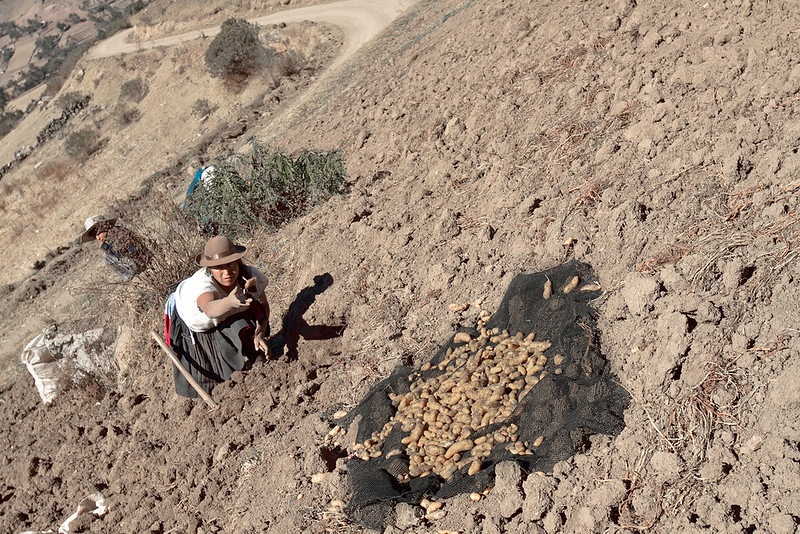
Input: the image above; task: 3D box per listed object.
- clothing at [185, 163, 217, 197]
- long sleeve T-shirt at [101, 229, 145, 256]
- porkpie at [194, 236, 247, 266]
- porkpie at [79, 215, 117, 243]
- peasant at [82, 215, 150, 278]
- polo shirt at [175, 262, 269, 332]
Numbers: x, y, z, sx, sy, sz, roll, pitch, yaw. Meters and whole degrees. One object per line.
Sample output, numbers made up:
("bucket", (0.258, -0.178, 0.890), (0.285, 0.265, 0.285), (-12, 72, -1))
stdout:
("clothing", (-4.814, -2.090, 29.778), (0.811, 0.360, 0.903), (-10, 57, 31))
("long sleeve T-shirt", (-6.407, -0.565, 28.561), (1.467, 0.511, 0.492), (10, 57, 44))
("porkpie", (-3.866, -0.289, 26.342), (1.008, 0.658, 0.455), (-29, 38, 12))
("porkpie", (-7.166, -0.971, 29.072), (0.729, 0.328, 0.637), (-36, -6, -35))
("peasant", (-6.634, -0.656, 28.926), (0.974, 1.904, 0.953), (-22, 42, 10))
("polo shirt", (-4.251, 0.811, 26.633), (1.300, 1.225, 0.679), (-28, 38, 11))
